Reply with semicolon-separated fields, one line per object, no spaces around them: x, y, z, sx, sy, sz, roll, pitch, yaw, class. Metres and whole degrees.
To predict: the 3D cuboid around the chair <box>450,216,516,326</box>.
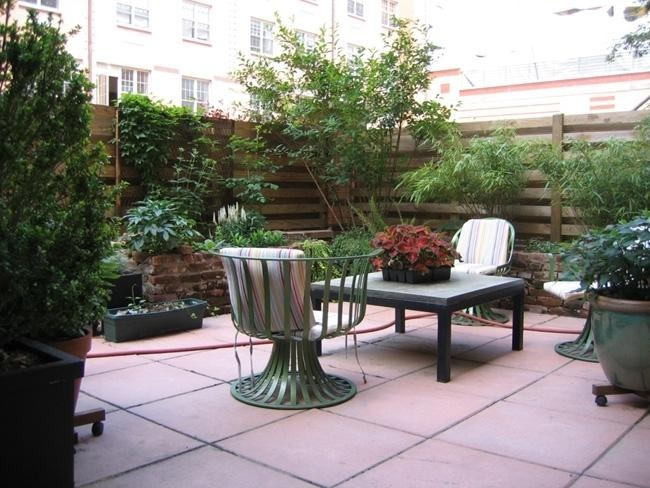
1.596;0.246;5.457;1.065;0.963;0.843;-5;11;15;chair

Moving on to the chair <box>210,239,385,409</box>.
-0.252;0.447;3.573;1.310;0.914;1.135;2;4;35;chair

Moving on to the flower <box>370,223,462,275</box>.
0.773;0.011;4.223;0.573;0.245;0.519;-3;9;-33;flower
